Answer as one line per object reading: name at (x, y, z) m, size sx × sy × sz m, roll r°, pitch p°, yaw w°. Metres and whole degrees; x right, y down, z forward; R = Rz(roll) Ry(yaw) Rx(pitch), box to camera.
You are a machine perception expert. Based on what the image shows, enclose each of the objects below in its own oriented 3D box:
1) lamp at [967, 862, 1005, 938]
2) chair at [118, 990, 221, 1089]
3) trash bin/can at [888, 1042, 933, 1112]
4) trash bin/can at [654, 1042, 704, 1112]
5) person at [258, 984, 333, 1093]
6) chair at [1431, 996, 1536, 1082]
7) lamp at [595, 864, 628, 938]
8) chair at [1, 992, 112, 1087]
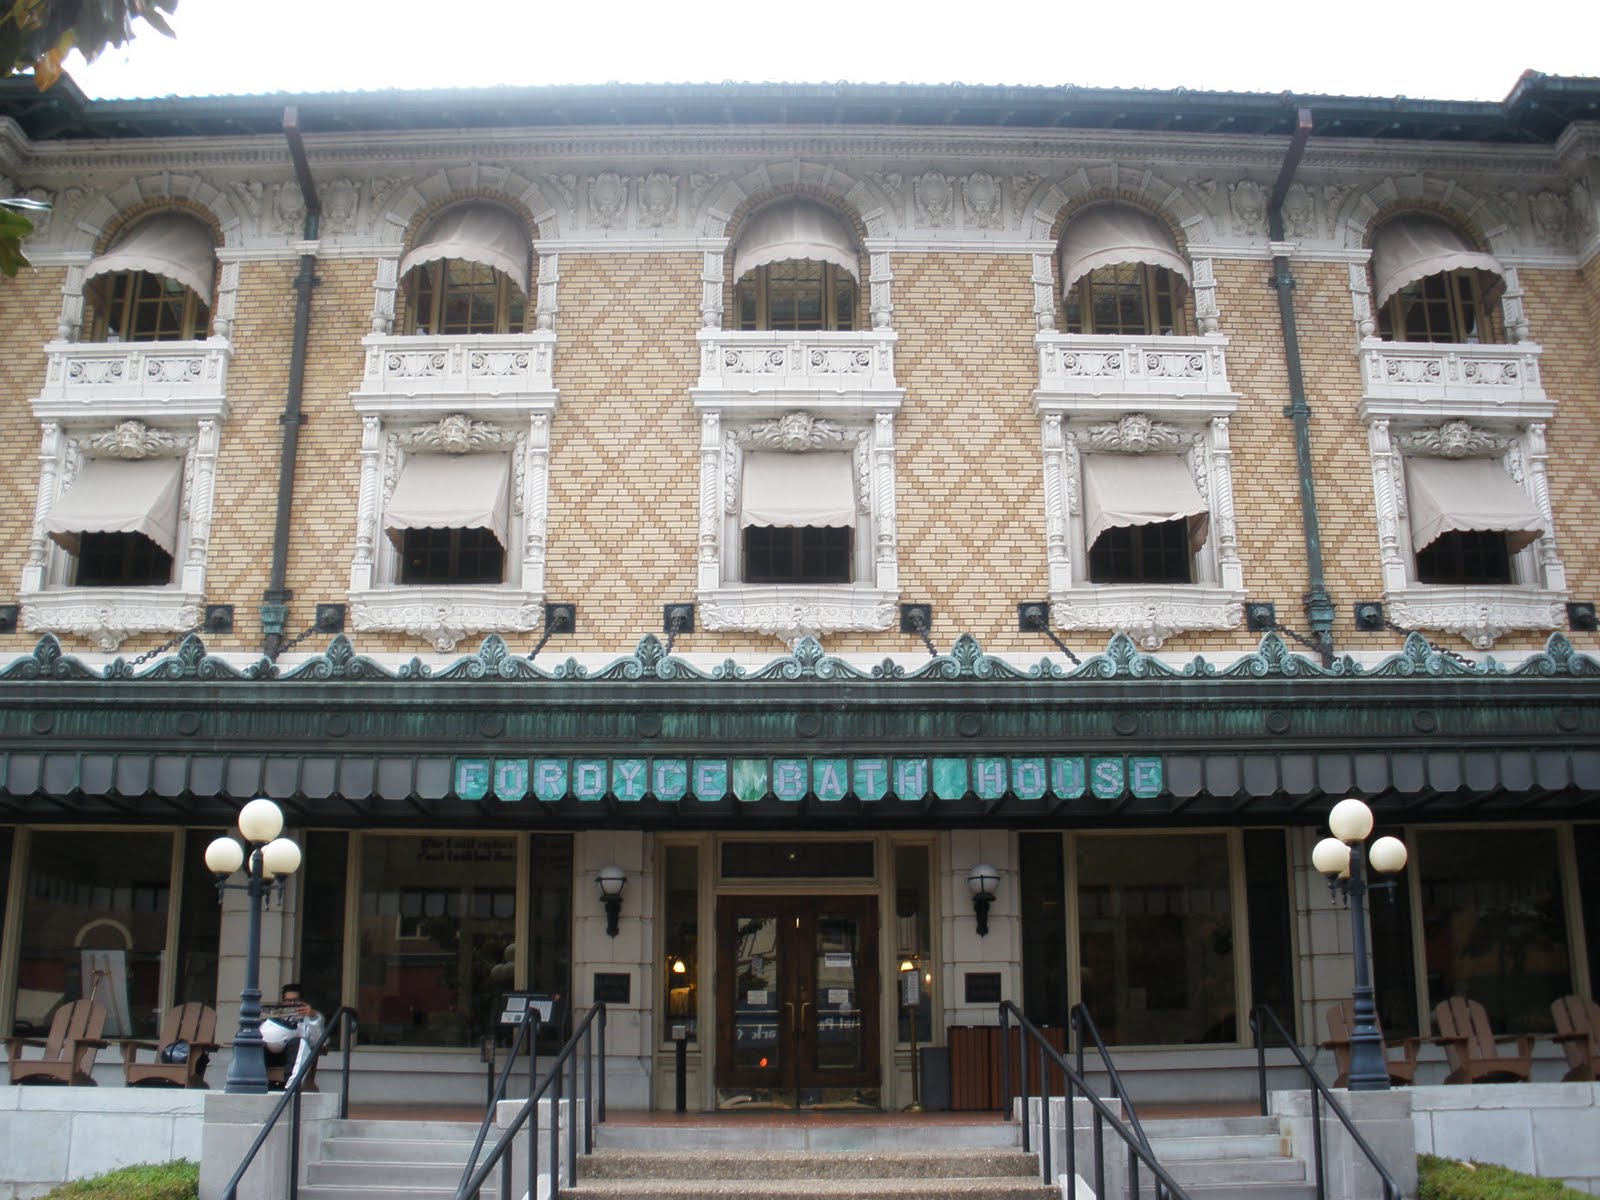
lamp at (2.588, 4.141, 24.427) m, size 0.461 × 0.930 × 0.373 m, roll -2°, pitch -16°, yaw 5°
chair at (-7.866, 5.475, 21.848) m, size 1.079 × 1.191 × 1.257 m, roll -6°, pitch -22°, yaw 3°
trash bin/can at (1.535, 6.422, 23.994) m, size 0.460 × 0.895 × 1.113 m, roll 1°, pitch -16°, yaw -7°
trash bin/can at (-1.731, 6.644, 24.729) m, size 0.858 × 1.162 × 0.862 m, roll 0°, pitch -9°, yaw 6°
person at (-6.049, 5.112, 21.243) m, size 0.830 × 0.931 × 1.698 m, roll 0°, pitch -24°, yaw -3°
chair at (8.603, 5.502, 22.103) m, size 0.927 × 1.073 × 1.190 m, roll -5°, pitch -5°, yaw 5°
lamp at (-2.573, 4.122, 24.300) m, size 0.410 × 0.918 × 0.435 m, roll 1°, pitch -16°, yaw -7°
chair at (-9.403, 5.550, 22.355) m, size 1.007 × 1.075 × 2.592 m, roll 6°, pitch -17°, yaw -23°
